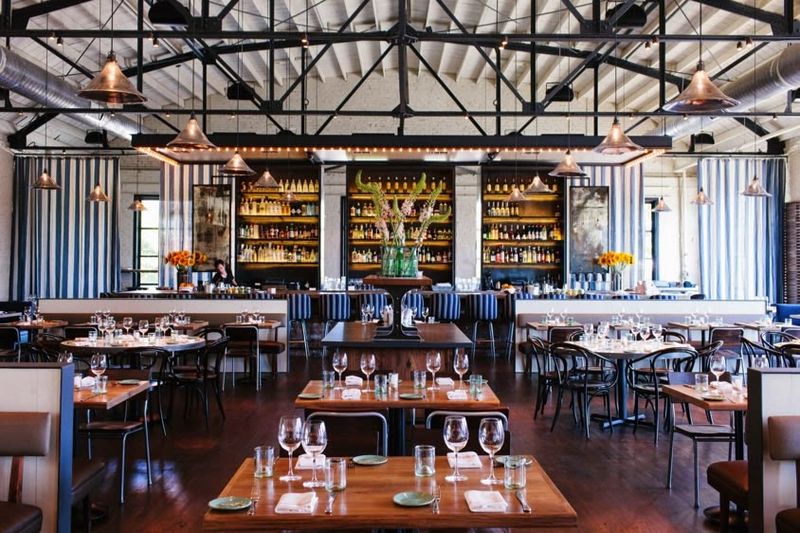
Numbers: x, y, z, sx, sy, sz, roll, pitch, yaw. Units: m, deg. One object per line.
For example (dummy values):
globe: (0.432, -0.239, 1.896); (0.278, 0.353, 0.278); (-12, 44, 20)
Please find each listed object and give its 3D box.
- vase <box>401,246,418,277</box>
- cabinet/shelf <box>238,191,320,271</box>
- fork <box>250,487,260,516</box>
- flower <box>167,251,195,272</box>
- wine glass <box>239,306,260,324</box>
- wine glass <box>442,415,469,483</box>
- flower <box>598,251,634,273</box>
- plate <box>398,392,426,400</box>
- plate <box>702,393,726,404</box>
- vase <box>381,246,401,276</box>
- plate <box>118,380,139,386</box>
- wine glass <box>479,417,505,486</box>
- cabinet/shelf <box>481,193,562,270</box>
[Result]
vase: (0.147, -0.055, 12.231); (0.273, 0.376, 0.192); (-2, -1, 43)
cabinet/shelf: (-2.593, -0.844, 19.464); (1.574, 1.454, 0.539); (0, -1, -1)
fork: (-1.472, 2.392, 9.199); (0.076, 0.065, 0.439); (4, 17, -9)
flower: (-4.144, -0.119, 17.177); (0.456, 0.320, 0.566); (-2, 0, -26)
wine glass: (-2.576, 0.855, 15.666); (0.370, 0.267, 0.211); (1, 2, -3)
wine glass: (0.575, 1.890, 9.521); (0.236, 0.637, 0.323); (-2, 0, 2)
flower: (4.382, -0.115, 18.224); (0.578, 0.437, 0.578); (0, 1, -35)
plate: (0.133, 1.529, 10.711); (0.294, 0.077, 0.185); (-2, 0, -1)
plate: (3.740, 1.565, 10.883); (0.266, 0.105, 0.262); (-2, 0, 22)
vase: (-0.117, -0.084, 12.291); (0.250, 0.376, 0.096); (-2, 0, -4)
plate: (-3.388, 1.457, 11.373); (0.252, 0.049, 0.234); (-2, 0, -18)
wine glass: (0.964, 1.908, 9.543); (0.229, 0.669, 0.373); (-2, 0, 11)
cabinet/shelf: (2.557, -0.771, 19.630); (1.527, 1.412, 0.476); (0, 2, -2)
